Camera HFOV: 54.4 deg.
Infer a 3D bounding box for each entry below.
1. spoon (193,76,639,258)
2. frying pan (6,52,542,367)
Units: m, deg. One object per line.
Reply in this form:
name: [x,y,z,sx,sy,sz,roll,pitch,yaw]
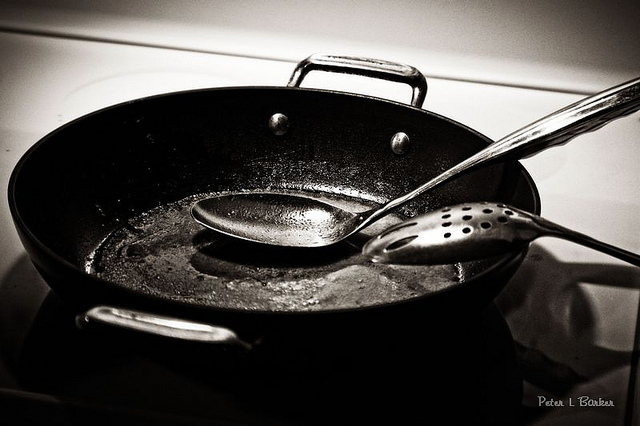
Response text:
spoon: [0.129,-0.058,0.886,0.779,0.079,0.133,-14,25,12]
frying pan: [-0.072,-0.068,0.798,0.488,0.108,0.557,16,33,20]
